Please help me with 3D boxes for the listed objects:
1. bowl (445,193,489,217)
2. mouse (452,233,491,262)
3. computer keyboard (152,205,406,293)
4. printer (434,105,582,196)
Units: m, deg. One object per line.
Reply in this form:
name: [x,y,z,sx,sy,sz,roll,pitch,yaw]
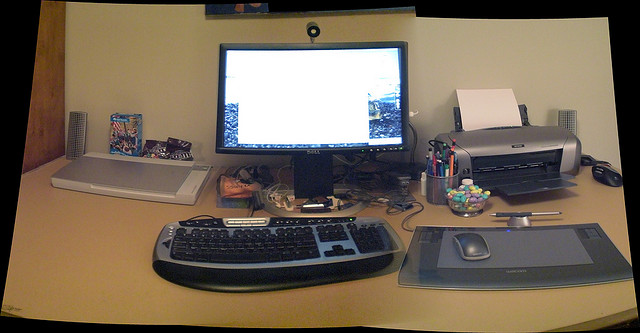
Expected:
bowl: [0.633,0.162,1.809,0.191,0.058,0.174,-6,9,-19]
mouse: [0.574,0.283,1.591,0.125,0.043,0.154,-8,28,-10]
computer keyboard: [-0.145,0.299,1.618,0.907,0.087,0.380,-1,36,-8]
printer: [0.902,-0.083,1.947,0.654,0.318,0.470,-7,26,-11]
